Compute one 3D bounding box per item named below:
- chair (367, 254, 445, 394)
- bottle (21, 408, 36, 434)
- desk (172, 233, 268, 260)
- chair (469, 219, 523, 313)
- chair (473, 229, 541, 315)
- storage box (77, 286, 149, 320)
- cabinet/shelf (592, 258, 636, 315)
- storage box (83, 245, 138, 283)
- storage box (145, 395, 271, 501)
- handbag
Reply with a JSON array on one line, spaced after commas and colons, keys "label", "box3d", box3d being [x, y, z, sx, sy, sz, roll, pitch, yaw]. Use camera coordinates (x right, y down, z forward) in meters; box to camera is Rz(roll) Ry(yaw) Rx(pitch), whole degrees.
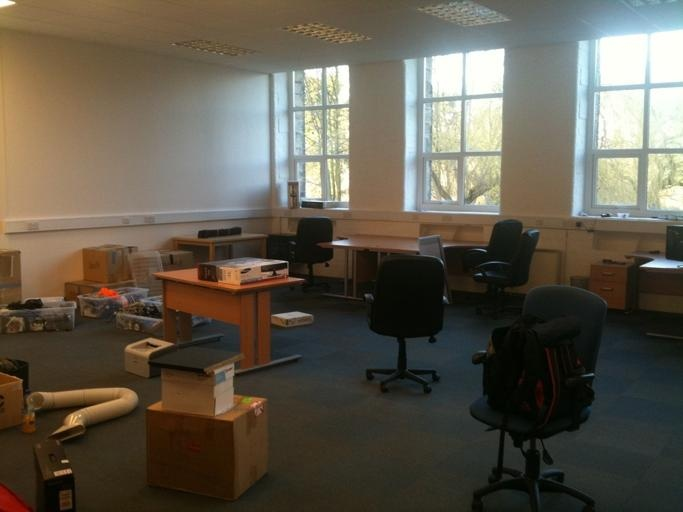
[{"label": "chair", "box3d": [0.564, 0.582, 4.734, 0.754, 1.146, 0.824, 5, 6, 35]}, {"label": "bottle", "box3d": [-2.313, 1.212, 3.912, 0.088, 0.147, 0.115, -10, 11, -38]}, {"label": "desk", "box3d": [-1.929, -0.151, 8.740, 0.837, 0.485, 1.478, 5, 12, 39]}, {"label": "chair", "box3d": [2.036, 0.161, 6.813, 0.784, 1.197, 0.711, -1, 7, 32]}, {"label": "chair", "box3d": [2.137, 0.202, 6.924, 0.726, 1.142, 0.718, 5, 8, 29]}, {"label": "storage box", "box3d": [-2.998, 0.606, 6.834, 0.426, 0.223, 0.681, 4, 7, 31]}, {"label": "cabinet/shelf", "box3d": [3.601, 0.373, 7.204, 0.664, 0.909, 0.676, 3, 5, 37]}, {"label": "storage box", "box3d": [-3.215, 0.100, 7.390, 0.541, 0.468, 0.550, 3, 5, 33]}, {"label": "storage box", "box3d": [-0.837, 1.122, 3.368, 0.600, 0.449, 0.594, 1, 3, 22]}, {"label": "handbag", "box3d": [1.031, 0.592, 3.022, 0.553, 0.601, 0.585, -3, 5, -37]}]
